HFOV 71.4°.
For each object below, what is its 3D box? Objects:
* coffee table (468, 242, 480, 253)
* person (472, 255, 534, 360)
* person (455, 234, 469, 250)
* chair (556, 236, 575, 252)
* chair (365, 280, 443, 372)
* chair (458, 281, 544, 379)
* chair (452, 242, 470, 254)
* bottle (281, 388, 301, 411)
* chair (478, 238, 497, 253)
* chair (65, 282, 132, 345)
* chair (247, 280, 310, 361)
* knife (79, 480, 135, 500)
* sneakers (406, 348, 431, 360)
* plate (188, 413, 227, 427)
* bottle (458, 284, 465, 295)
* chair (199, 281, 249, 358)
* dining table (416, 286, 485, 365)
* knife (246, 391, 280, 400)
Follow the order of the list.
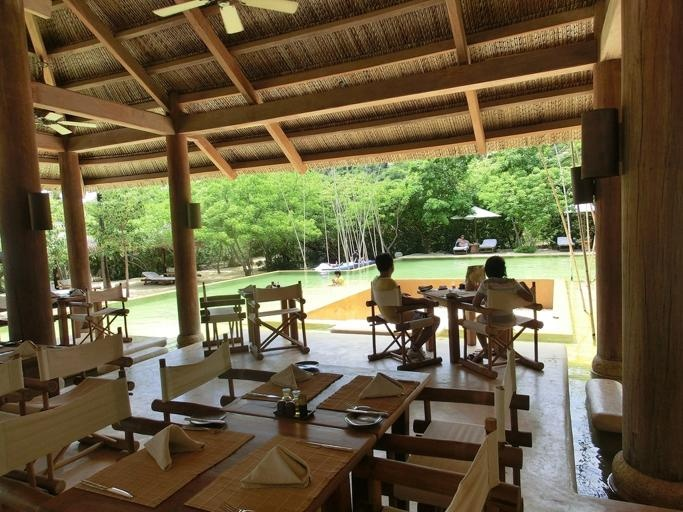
[{"bbox_3d":[6.416,-0.363,22.831,0.677,0.449,0.508,-1,1,10],"label":"coffee table"},{"bbox_3d":[1.696,0.570,5.013,0.658,0.841,0.681,-4,2,14],"label":"person"},{"bbox_3d":[5.978,-0.702,23.404,0.733,0.896,0.563,2,-15,-8],"label":"person"},{"bbox_3d":[8.963,-0.493,18.939,0.677,0.655,0.672,6,-1,-1],"label":"chair"},{"bbox_3d":[0.728,0.780,5.436,0.650,0.828,0.671,-1,-1,-25],"label":"chair"},{"bbox_3d":[1.697,0.762,5.090,0.684,0.896,0.685,2,-7,-23],"label":"chair"},{"bbox_3d":[5.737,-0.345,22.587,0.510,0.314,0.726,0,4,41],"label":"chair"},{"bbox_3d":[-0.283,0.817,2.666,0.134,0.117,0.073,2,-1,-5],"label":"bottle"},{"bbox_3d":[7.456,-0.550,23.941,0.630,0.472,0.831,0,3,26],"label":"chair"},{"bbox_3d":[-3.263,0.783,6.383,0.585,0.677,0.578,-7,1,33],"label":"chair"},{"bbox_3d":[-0.858,0.842,6.237,0.786,0.845,0.734,-5,-2,-14],"label":"chair"},{"bbox_3d":[-1.023,1.021,2.067,0.300,0.044,0.051,-3,2,20],"label":"knife"},{"bbox_3d":[0.927,1.134,5.496,0.307,0.114,0.117,1,0,-22],"label":"sneakers"},{"bbox_3d":[-0.724,0.899,2.588,0.325,0.043,0.067,-3,2,23],"label":"plate"},{"bbox_3d":[1.506,0.408,5.911,0.074,0.070,0.106,2,4,15],"label":"bottle"},{"bbox_3d":[-1.541,0.805,6.225,0.694,0.760,0.582,-4,0,-12],"label":"chair"},{"bbox_3d":[1.162,0.791,5.452,0.768,0.556,0.787,-1,1,-6],"label":"dining table"},{"bbox_3d":[-0.470,0.840,2.834,0.241,0.027,0.064,-3,4,35],"label":"knife"}]
